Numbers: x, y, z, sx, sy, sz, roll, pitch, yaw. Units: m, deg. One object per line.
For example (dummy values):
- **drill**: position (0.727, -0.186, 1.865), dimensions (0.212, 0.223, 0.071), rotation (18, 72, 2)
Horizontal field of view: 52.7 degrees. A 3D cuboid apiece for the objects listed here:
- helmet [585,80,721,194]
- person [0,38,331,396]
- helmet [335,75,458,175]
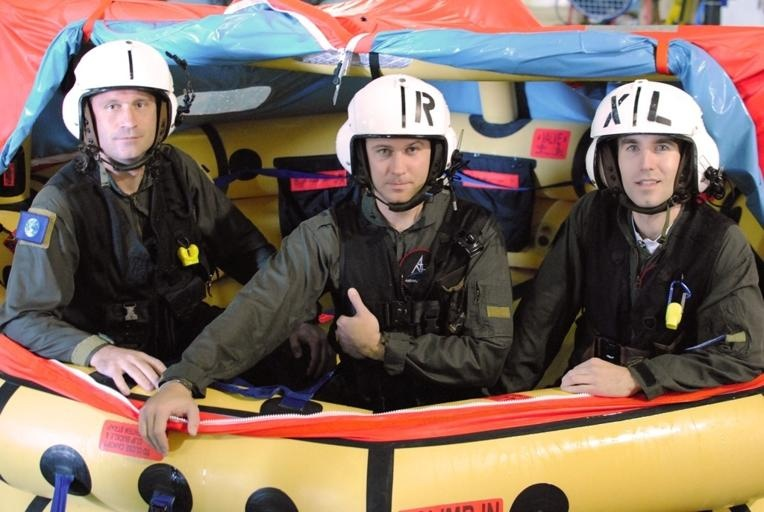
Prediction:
- **helmet**: position (0.992, -0.477, 2.884), dimensions (0.426, 0.381, 0.427), rotation (-4, 2, 25)
- **person**: position (-0.944, -0.159, 3.218), dimensions (0.766, 1.013, 0.949), rotation (25, 41, 38)
- **helmet**: position (0.063, -0.561, 3.107), dimensions (0.386, 0.343, 0.390), rotation (0, 20, 3)
